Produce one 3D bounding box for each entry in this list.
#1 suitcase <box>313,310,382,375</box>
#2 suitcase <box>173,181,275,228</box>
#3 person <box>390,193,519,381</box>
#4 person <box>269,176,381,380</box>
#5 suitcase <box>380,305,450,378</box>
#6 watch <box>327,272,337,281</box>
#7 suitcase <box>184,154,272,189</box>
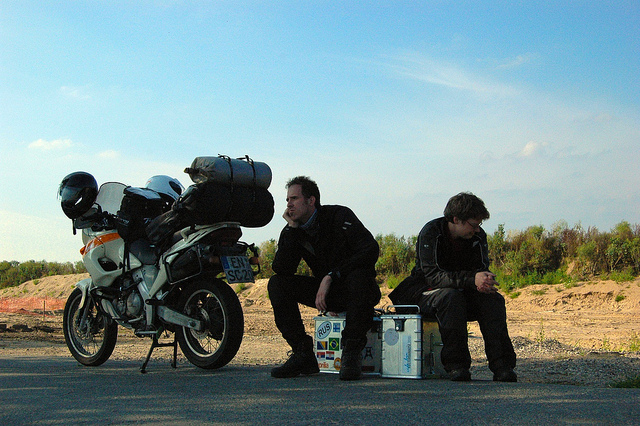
[{"bbox_3d":[0.373,1.655,7.660,0.872,0.658,0.508,-4,-11,24],"label":"suitcase"},{"bbox_3d":[-1.184,-0.121,8.250,1.307,0.606,1.021,2,1,-32],"label":"suitcase"},{"bbox_3d":[1.590,0.861,7.132,1.255,2.110,0.747,-3,-10,19],"label":"person"},{"bbox_3d":[0.054,0.756,7.396,1.347,2.417,0.519,-3,-10,18],"label":"person"},{"bbox_3d":[1.156,1.634,7.538,0.647,0.781,1.113,-4,-14,23],"label":"suitcase"},{"bbox_3d":[0.138,0.743,7.212,0.089,0.094,0.097,1,-10,-3],"label":"watch"},{"bbox_3d":[-1.155,-0.483,7.367,1.093,0.485,0.626,8,2,-32],"label":"suitcase"}]
